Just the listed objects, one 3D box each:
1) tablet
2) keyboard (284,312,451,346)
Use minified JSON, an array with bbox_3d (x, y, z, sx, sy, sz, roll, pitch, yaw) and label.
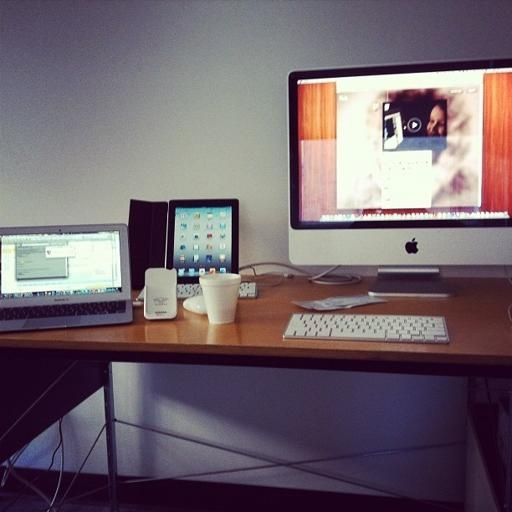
[{"bbox_3d":[-0.155,-0.041,1.500,0.215,0.288,0.020,1,-8,-1],"label":"tablet"},{"bbox_3d":[0.229,0.147,1.059,0.332,0.021,0.143,0,10,10],"label":"keyboard"}]
